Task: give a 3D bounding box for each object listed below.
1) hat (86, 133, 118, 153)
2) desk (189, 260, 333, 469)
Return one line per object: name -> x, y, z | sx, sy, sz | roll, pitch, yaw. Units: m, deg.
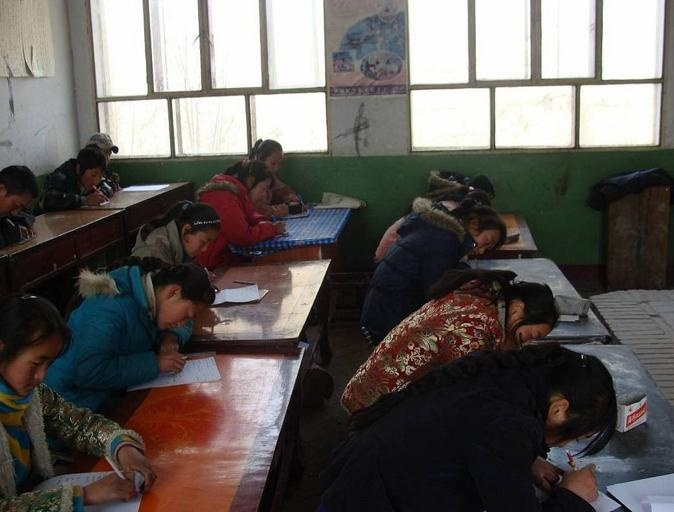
hat -> -2.233, -1.073, 5.204 | 0.331, 0.177, 0.220 | -2, 11, -31
desk -> -0.377, 0.567, 2.798 | 0.492, 0.269, 1.128 | -2, 20, 4
